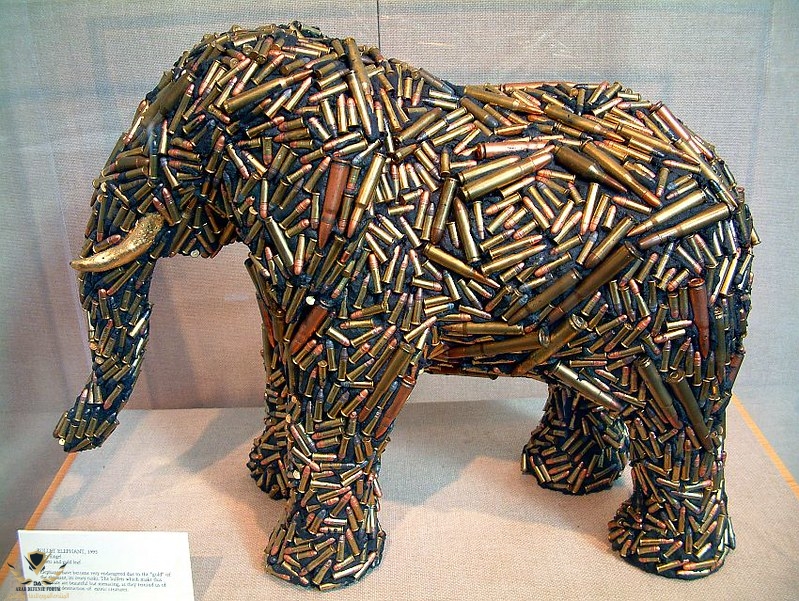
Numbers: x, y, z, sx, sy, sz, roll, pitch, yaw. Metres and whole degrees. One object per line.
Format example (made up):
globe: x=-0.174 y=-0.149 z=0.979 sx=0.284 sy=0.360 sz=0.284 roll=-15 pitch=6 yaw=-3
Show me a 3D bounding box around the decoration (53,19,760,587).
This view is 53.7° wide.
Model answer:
decoration: x=0.040 y=-0.006 z=1.735 sx=1.380 sy=1.033 sz=0.576 roll=1 pitch=13 yaw=-4
